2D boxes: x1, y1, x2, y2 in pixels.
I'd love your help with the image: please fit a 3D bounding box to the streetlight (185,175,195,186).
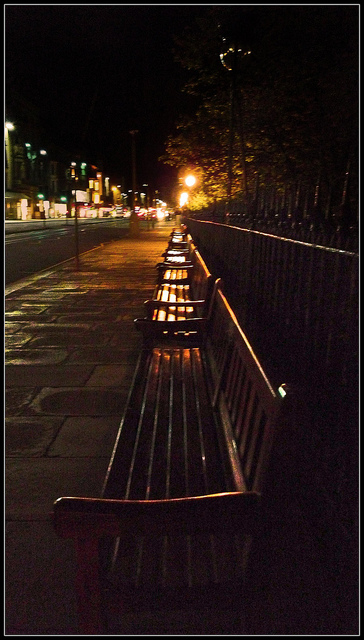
[{"bbox_3d":[0.389,-6.810,20.467,0.330,0.510,0.377,-3,20,-21],"label":"streetlight"}]
